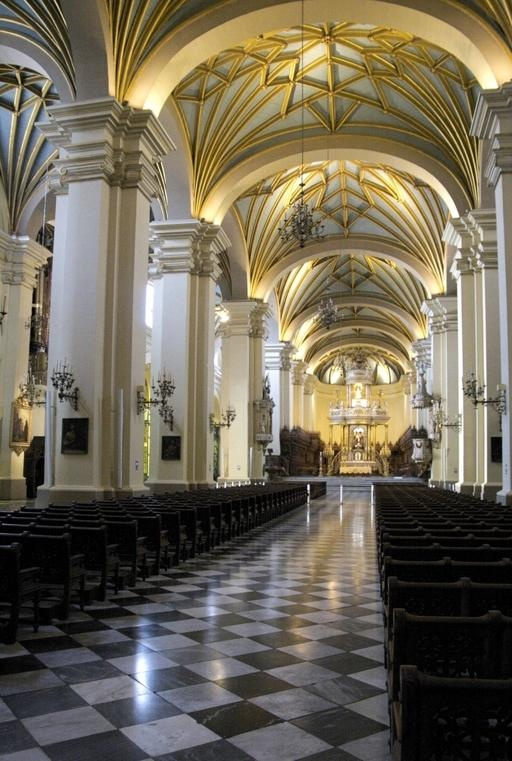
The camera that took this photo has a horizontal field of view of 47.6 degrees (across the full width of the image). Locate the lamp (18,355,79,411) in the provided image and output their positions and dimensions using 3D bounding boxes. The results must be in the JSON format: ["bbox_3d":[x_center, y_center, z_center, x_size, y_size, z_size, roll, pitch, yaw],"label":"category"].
[{"bbox_3d":[-4.960,0.071,13.640,0.843,0.834,1.582,6,-10,-39],"label":"lamp"}]
